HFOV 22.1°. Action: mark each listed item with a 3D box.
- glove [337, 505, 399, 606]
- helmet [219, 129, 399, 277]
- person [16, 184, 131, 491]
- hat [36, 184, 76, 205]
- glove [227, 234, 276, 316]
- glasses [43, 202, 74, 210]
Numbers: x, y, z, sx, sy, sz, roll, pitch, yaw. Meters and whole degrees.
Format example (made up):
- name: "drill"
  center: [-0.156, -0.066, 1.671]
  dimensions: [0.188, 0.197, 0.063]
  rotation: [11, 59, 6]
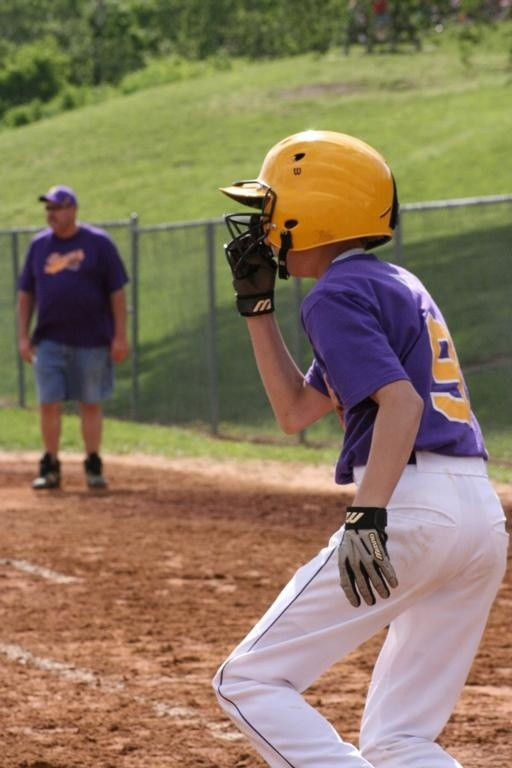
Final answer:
- name: "glove"
  center: [0.265, 0.407, 3.126]
  dimensions: [0.164, 0.219, 0.086]
  rotation: [9, 0, 12]
- name: "helmet"
  center: [0.177, -0.496, 3.427]
  dimensions: [0.516, 0.352, 0.351]
  rotation: [4, 6, 20]
- name: "person"
  center: [-0.575, -0.147, 4.188]
  dimensions: [0.344, 0.982, 0.148]
  rotation: [-4, 9, -12]
- name: "hat"
  center: [-0.618, -0.599, 4.109]
  dimensions: [0.106, 0.047, 0.066]
  rotation: [13, -2, -35]
- name: "glove"
  center: [-0.010, -0.312, 3.657]
  dimensions: [0.180, 0.206, 0.089]
  rotation: [-14, 6, -23]
- name: "glasses"
  center: [-0.616, -0.566, 4.106]
  dimensions: [0.037, 0.016, 0.058]
  rotation: [1, 2, 44]
